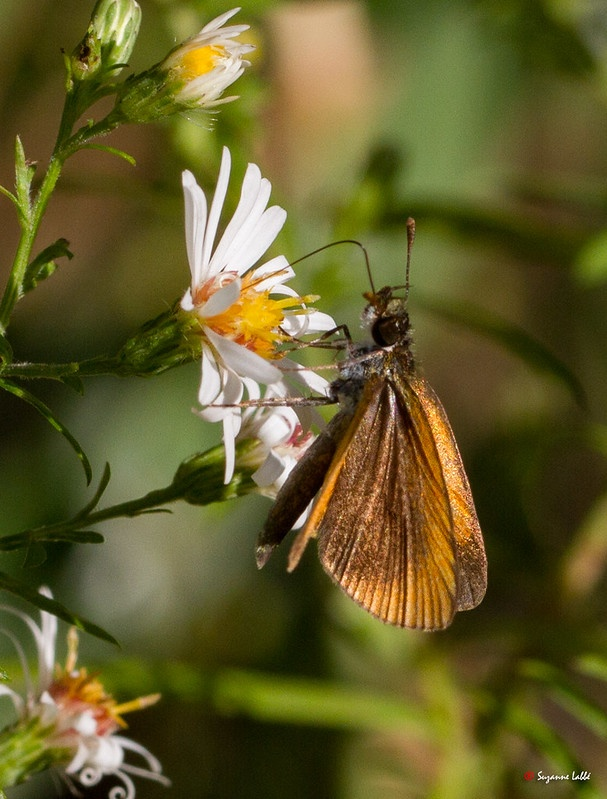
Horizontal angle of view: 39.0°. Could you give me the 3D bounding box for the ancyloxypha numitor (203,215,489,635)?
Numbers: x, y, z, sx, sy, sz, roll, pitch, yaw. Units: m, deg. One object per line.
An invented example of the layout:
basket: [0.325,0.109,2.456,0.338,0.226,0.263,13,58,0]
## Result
ancyloxypha numitor: [0.077,0.020,1.300,0.448,0.551,0.322,4,9,-13]

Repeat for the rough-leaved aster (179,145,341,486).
rough-leaved aster: [-0.056,-0.102,1.114,0.182,0.436,0.441,-11,48,3]
